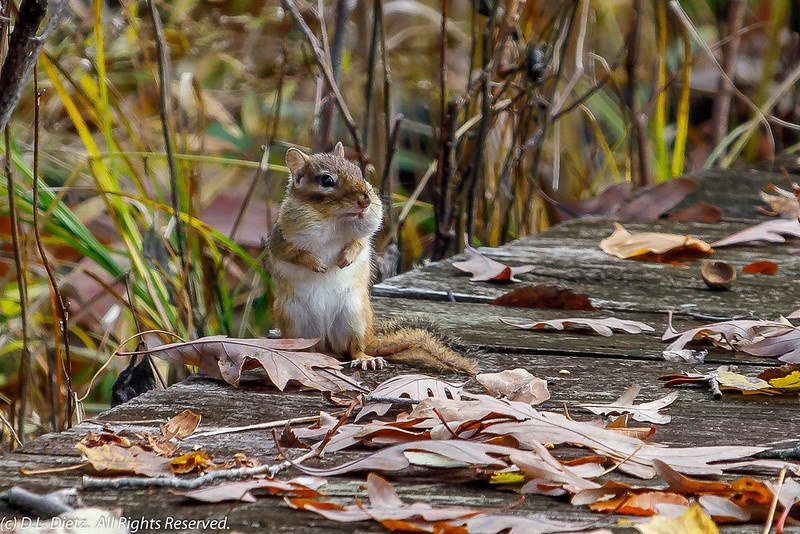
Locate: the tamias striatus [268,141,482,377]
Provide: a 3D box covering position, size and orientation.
[{"bbox_3d":[-0.127,-0.042,3.628,0.889,0.836,0.522,-3,-5,37],"label":"tamias striatus"}]
